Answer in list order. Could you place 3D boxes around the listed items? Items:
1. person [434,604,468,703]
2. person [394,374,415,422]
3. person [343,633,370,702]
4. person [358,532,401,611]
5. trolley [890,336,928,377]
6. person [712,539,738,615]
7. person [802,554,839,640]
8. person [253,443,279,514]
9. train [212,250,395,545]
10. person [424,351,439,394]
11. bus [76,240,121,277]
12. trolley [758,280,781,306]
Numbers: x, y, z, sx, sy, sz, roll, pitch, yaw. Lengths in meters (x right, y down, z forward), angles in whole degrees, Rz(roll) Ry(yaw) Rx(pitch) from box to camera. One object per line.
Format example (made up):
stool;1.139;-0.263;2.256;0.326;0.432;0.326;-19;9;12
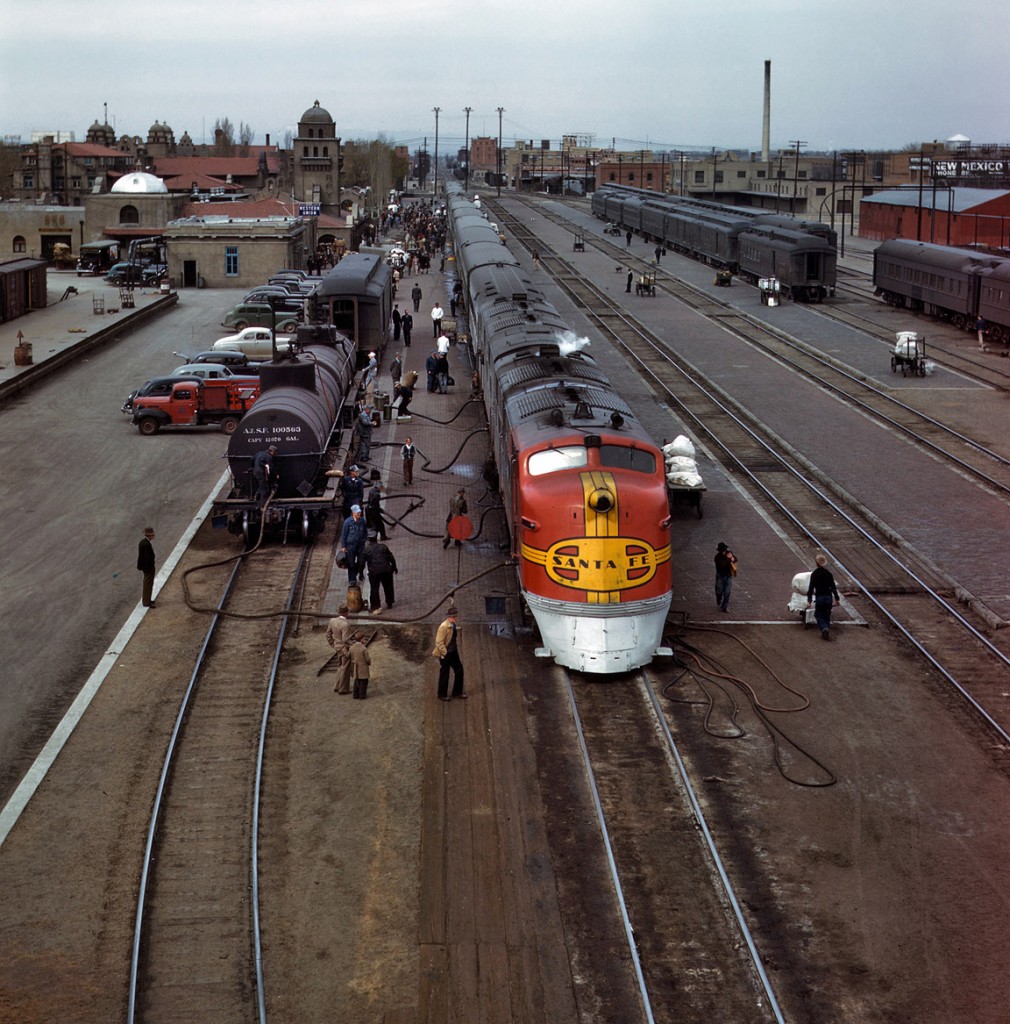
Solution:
person;-0.887;2.172;14.241;0.451;1.857;1.035;-3;19;-4
person;-3.921;-4.491;35.441;0.821;2.318;0.697;3;60;1
person;-2.350;2.558;14.431;0.329;0.952;0.494;-6;19;-13
person;-2.497;1.233;18.167;0.595;1.480;1.221;-5;19;-9
trolley;19.009;-7.310;41.521;1.398;1.719;1.593;1;19;6
person;4.451;1.245;17.816;0.352;1.568;0.966;4;19;15
person;6.077;1.500;16.938;0.532;1.699;1.202;5;20;19
person;-5.767;-0.832;21.352;0.624;1.293;1.034;-4;19;-6
train;-5.571;-4.522;30.083;2.991;5.098;19.225;4;23;-2
person;-2.911;-5.817;38.345;0.648;1.443;0.603;-13;22;-31
bus;-35.293;-22.084;77.313;2.917;2.648;5.678;-4;19;-7
trolley;18.583;-15.225;61.517;1.279;1.755;2.813;5;20;19
